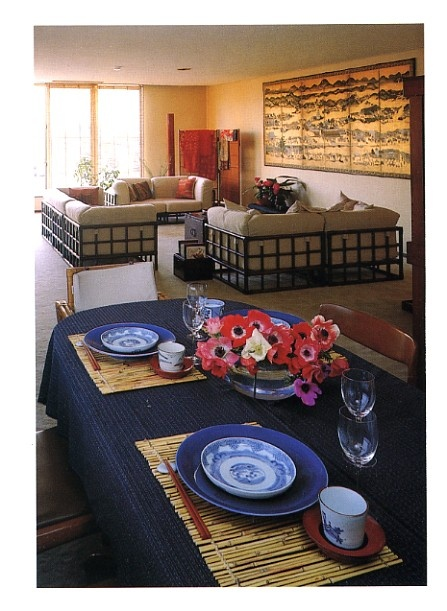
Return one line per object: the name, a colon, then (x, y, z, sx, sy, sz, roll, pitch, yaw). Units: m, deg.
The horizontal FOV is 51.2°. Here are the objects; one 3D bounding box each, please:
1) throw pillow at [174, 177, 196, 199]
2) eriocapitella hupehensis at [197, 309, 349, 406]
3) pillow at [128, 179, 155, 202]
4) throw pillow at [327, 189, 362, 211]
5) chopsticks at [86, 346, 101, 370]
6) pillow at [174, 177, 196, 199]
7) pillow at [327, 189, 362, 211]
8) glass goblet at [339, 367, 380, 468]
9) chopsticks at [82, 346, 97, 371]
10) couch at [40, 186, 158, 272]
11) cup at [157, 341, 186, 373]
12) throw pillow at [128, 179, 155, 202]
throw pillow: (-0.793, -2.444, 9.750, 0.440, 0.531, 0.205, 2, -8, 15)
eriocapitella hupehensis: (0.133, 0.087, 1.094, 0.278, 0.153, 0.275, 1, 14, -10)
pillow: (-1.652, -2.287, 9.333, 0.141, 0.448, 0.473, -15, -2, 38)
throw pillow: (1.615, -1.341, 6.154, 0.406, 0.141, 0.475, 14, 39, 30)
chopsticks: (-0.395, 0.164, 1.406, 0.027, 0.020, 0.239, -7, 22, -16)
pillow: (-0.793, -2.444, 9.750, 0.440, 0.531, 0.205, 2, -8, 15)
pillow: (1.609, -1.337, 6.145, 0.406, 0.141, 0.475, 14, 39, 30)
glass goblet: (0.241, 0.201, 0.832, 0.078, 0.187, 0.090, 4, 20, 0)
chopsticks: (-0.401, 0.160, 1.410, 0.031, 0.015, 0.197, -6, 24, -18)
couch: (-2.022, -1.293, 7.185, 1.260, 1.177, 3.434, -3, 11, -24)
cup: (-0.151, 0.145, 1.322, 0.063, 0.060, 0.079, 0, 10, -1)
throw pillow: (-1.671, -2.301, 9.362, 0.141, 0.448, 0.473, -15, -2, 38)
